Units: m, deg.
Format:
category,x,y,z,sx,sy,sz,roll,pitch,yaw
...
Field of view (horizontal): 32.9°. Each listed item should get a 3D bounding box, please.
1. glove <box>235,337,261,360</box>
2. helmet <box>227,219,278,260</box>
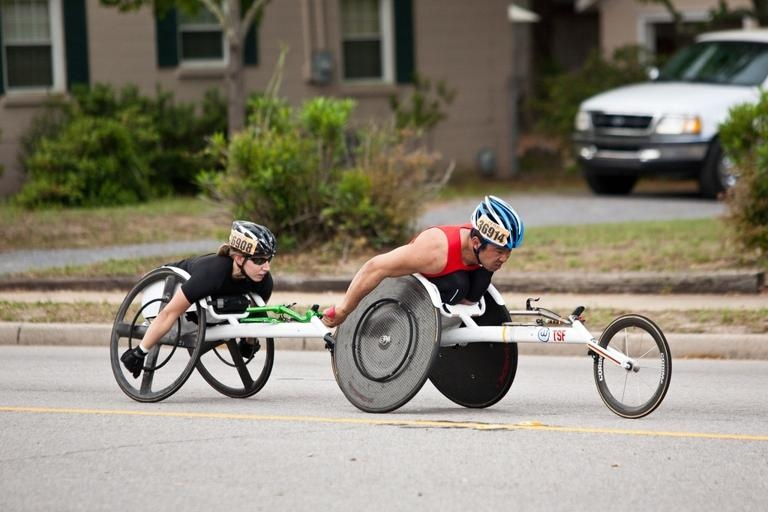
category,x,y,z,sx,sy,sz,roll,pitch,yaw
glove,-1.598,1.056,14.875,0.380,0.265,0.131,3,0,36
helmet,-1.451,-0.190,14.563,0.618,0.385,0.454,19,16,28
